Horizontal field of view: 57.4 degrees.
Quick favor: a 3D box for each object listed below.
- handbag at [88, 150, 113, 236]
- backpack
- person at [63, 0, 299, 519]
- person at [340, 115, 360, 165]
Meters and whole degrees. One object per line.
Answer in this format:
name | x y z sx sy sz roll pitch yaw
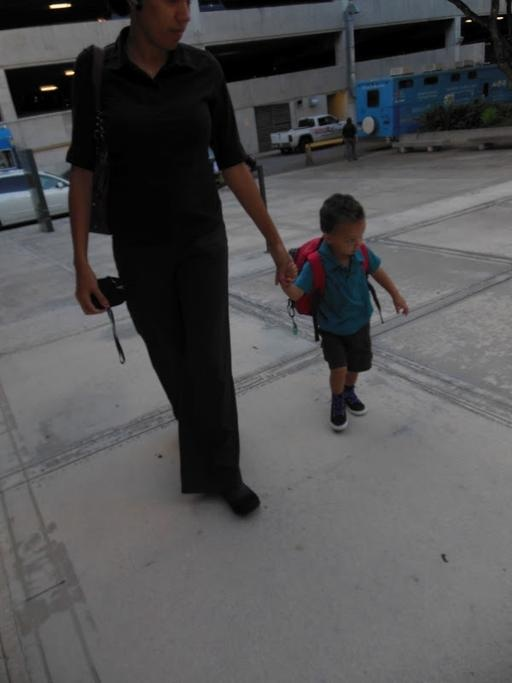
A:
handbag | -0.584 -0.532 1.709 0.078 0.285 0.031 9 18 5
backpack | 0.379 -0.318 2.485 0.468 0.460 0.335 0 12 30
person | -0.266 -0.178 1.868 0.812 1.953 0.459 -9 23 -6
person | 3.605 -7.756 17.911 0.466 1.515 1.645 -1 24 12
